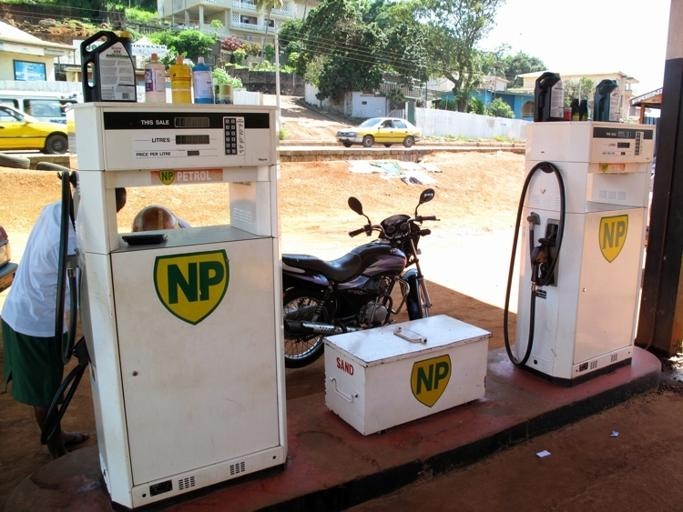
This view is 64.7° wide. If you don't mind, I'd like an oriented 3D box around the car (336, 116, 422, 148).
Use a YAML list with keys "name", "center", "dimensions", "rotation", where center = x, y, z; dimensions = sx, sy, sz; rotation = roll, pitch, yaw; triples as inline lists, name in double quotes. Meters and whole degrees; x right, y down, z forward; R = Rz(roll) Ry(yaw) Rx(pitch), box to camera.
- name: "car"
  center: [1.747, -5.824, 25.584]
  dimensions: [4.019, 1.296, 0.866]
  rotation: [-8, 19, -30]

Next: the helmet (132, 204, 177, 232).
- name: "helmet"
  center: [-1.414, -0.274, 4.023]
  dimensions: [0.251, 0.164, 0.244]
  rotation: [-1, 55, -8]

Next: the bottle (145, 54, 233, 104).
- name: "bottle"
  center: [-0.921, -1.049, 3.210]
  dimensions: [0.516, 0.265, 0.352]
  rotation: [-3, 17, -16]

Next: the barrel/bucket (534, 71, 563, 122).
- name: "barrel/bucket"
  center: [1.804, -1.383, 4.695]
  dimensions: [0.292, 0.418, 0.261]
  rotation: [13, 20, 33]

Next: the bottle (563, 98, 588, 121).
- name: "bottle"
  center: [2.066, -1.281, 4.724]
  dimensions: [0.199, 0.179, 0.337]
  rotation: [9, 18, 22]

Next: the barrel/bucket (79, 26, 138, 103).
- name: "barrel/bucket"
  center: [-1.372, -1.096, 3.117]
  dimensions: [0.253, 0.396, 0.355]
  rotation: [-12, 22, -40]

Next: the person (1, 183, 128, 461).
- name: "person"
  center: [-2.127, 0.529, 3.794]
  dimensions: [0.455, 2.110, 0.872]
  rotation: [-13, 22, -41]
